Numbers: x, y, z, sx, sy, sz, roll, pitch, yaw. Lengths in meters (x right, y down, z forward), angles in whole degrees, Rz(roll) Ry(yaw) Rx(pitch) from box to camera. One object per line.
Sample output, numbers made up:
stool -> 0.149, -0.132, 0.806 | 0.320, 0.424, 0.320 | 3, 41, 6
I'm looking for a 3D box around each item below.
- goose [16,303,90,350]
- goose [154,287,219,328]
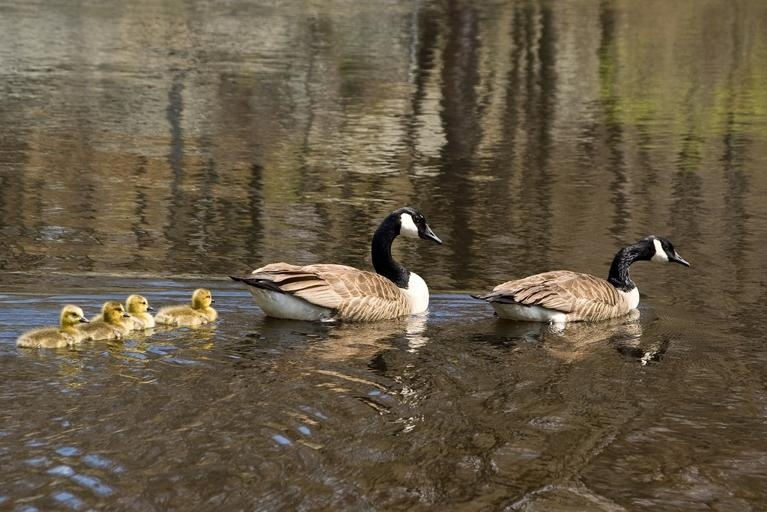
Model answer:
goose -> -5.120, 1.093, 12.864 | 0.723, 0.612, 0.907 | 7, 5, 21
goose -> -3.279, 0.880, 14.134 | 0.793, 0.596, 0.878 | 8, 6, 41
